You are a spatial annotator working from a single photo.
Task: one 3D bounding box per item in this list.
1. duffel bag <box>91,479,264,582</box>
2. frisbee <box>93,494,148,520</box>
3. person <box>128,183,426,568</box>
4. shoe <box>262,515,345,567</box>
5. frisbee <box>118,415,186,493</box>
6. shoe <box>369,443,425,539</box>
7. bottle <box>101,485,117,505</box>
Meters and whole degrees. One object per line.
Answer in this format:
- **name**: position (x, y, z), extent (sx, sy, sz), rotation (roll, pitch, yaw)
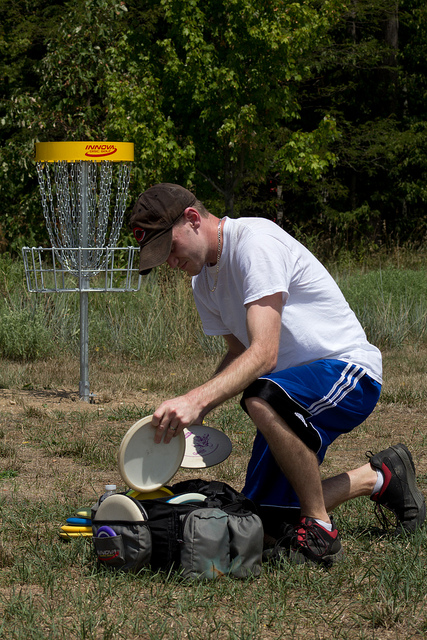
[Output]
- **duffel bag**: position (-0.106, 0.800, 3.283), extent (0.581, 0.263, 0.426), rotation (-5, 7, -40)
- **frisbee**: position (-0.336, 0.683, 3.207), extent (0.192, 0.095, 0.095), rotation (0, 6, -4)
- **person**: position (0.268, 0.177, 3.422), extent (1.219, 1.496, 0.693), rotation (-1, 1, -29)
- **shoe**: position (0.357, 0.839, 3.354), extent (0.331, 0.190, 0.199), rotation (0, 6, -4)
- **frisbee**: position (-0.223, 0.497, 3.289), extent (0.336, 0.297, 0.039), rotation (-20, -31, 32)
- **shoe**: position (0.767, 0.694, 3.729), extent (0.205, 0.420, 0.152), rotation (-18, -1, -10)
- **bottle**: position (-0.387, 0.660, 3.326), extent (0.062, 0.058, 0.059), rotation (3, -3, 19)
